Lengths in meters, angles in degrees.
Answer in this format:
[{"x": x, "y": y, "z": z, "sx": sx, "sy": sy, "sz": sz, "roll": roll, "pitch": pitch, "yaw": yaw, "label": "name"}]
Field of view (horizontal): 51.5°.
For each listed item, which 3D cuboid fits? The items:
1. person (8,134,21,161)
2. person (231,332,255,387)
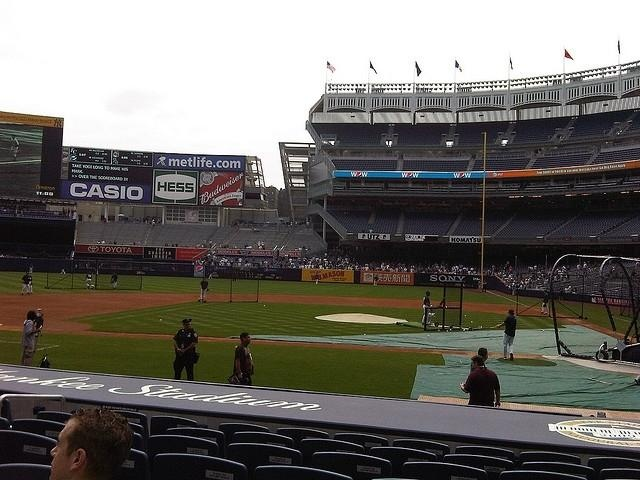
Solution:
[{"x": -27.998, "y": -8.425, "z": 60.698, "sx": 0.853, "sy": 2.091, "sz": 0.363, "roll": 2, "pitch": -3, "yaw": -8, "label": "person"}, {"x": -2.335, "y": 3.602, "z": 19.749, "sx": 0.617, "sy": 1.623, "sz": 1.564, "roll": 2, "pitch": -2, "yaw": -7, "label": "person"}]
